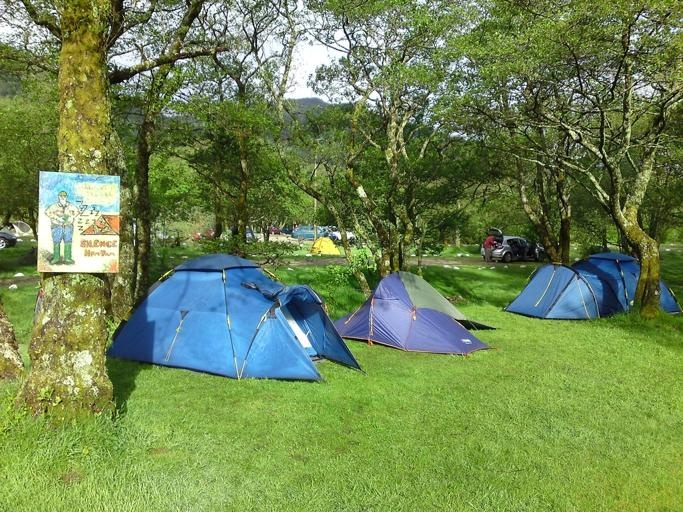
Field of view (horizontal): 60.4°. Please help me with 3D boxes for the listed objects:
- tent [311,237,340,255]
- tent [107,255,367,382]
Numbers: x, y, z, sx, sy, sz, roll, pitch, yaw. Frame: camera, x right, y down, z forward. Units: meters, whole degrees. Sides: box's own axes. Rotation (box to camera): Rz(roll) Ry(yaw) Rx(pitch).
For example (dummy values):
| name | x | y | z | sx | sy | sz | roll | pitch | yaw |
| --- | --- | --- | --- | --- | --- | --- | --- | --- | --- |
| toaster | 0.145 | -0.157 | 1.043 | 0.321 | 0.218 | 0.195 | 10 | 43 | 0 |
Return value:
| name | x | y | z | sx | sy | sz | roll | pitch | yaw |
| --- | --- | --- | --- | --- | --- | --- | --- | --- | --- |
| tent | -1.129 | -0.464 | 38.125 | 1.359 | 0.718 | 1.389 | 6 | 9 | 42 |
| tent | -2.661 | 1.374 | 14.829 | 5.251 | 2.595 | 3.979 | 2 | -1 | 23 |
